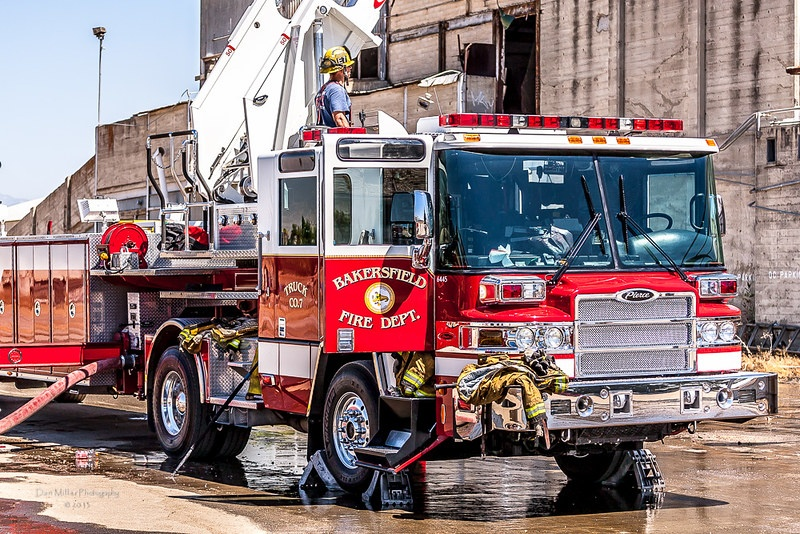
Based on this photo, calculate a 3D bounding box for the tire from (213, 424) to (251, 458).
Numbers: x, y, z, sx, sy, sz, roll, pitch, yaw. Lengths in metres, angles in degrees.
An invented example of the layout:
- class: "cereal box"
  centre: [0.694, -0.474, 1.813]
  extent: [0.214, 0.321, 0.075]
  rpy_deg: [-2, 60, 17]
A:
- class: "tire"
  centre: [-2.195, 2.301, 18.085]
  extent: [0.474, 0.434, 0.453]
  rpy_deg: [0, -6, -37]

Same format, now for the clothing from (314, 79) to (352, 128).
- class: "clothing"
  centre: [-0.873, -2.127, 17.479]
  extent: [0.384, 0.592, 0.733]
  rpy_deg: [-5, 11, -31]

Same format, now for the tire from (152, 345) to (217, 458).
- class: "tire"
  centre: [-2.806, 1.785, 18.000]
  extent: [0.540, 1.560, 1.422]
  rpy_deg: [1, -3, -33]

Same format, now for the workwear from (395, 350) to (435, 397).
- class: "workwear"
  centre: [0.191, 1.212, 15.441]
  extent: [0.460, 0.475, 0.173]
  rpy_deg: [3, -4, 8]

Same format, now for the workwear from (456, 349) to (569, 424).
- class: "workwear"
  centre: [1.338, 1.156, 14.679]
  extent: [1.076, 0.517, 1.224]
  rpy_deg: [-24, 23, -35]

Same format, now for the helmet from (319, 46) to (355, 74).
- class: "helmet"
  centre: [-0.808, -2.705, 17.716]
  extent: [0.435, 0.227, 0.330]
  rpy_deg: [-3, 9, -14]
